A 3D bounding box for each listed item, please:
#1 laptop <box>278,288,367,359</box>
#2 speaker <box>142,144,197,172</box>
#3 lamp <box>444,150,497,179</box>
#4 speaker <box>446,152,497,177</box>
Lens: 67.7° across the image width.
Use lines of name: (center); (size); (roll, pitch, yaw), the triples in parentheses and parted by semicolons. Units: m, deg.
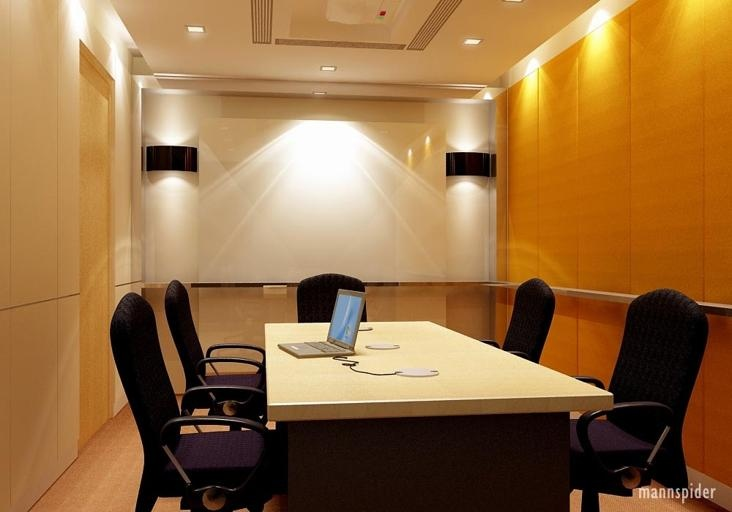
laptop: (-0.305, 0.449, 3.760); (0.470, 0.414, 0.569); (2, -2, -24)
speaker: (-2.350, -1.164, 6.552); (0.603, 0.316, 0.169); (0, 8, -20)
lamp: (1.350, -1.186, 7.004); (0.475, 0.254, 0.367); (1, 3, 4)
speaker: (1.368, -1.172, 7.011); (0.471, 0.247, 0.365); (1, 2, 2)
